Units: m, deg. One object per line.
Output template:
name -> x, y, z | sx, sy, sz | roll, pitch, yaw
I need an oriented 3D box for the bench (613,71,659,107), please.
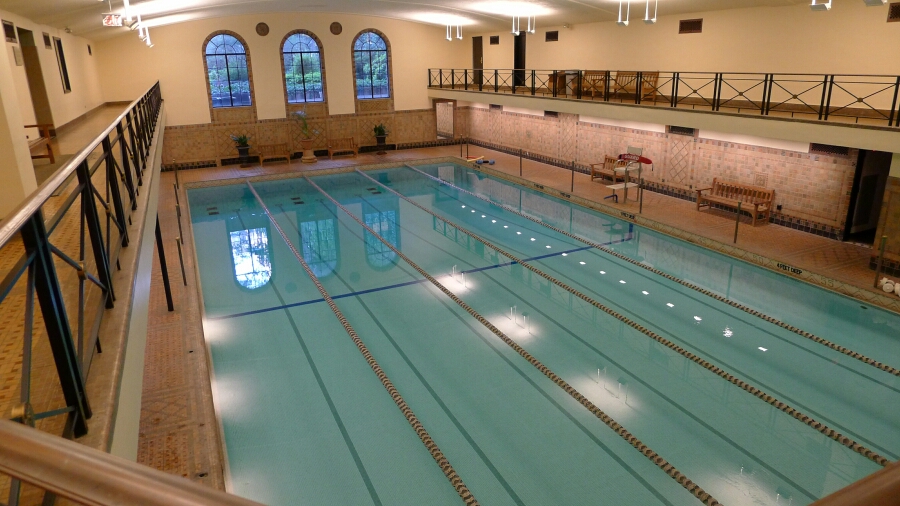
bench -> 5.136, -4.501, 14.108 | 0.550, 0.983, 1.488 | -11, 24, -20

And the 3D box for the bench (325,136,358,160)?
bench -> -4.455, -4.276, 20.895 | 1.160, 0.710, 0.464 | -8, 53, -14

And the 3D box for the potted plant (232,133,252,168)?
potted plant -> -7.956, -3.961, 19.808 | 0.539, 1.106, 0.863 | -11, 23, -19

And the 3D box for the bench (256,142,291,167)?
bench -> -6.903, -3.852, 19.989 | 1.197, 0.702, 0.472 | -9, 50, -17

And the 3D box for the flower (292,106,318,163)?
flower -> -5.780, -4.730, 20.451 | 0.629, 1.954, 0.800 | -9, 23, -14

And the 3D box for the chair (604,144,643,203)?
chair -> 5.001, -2.249, 14.855 | 0.880, 1.468, 0.772 | -4, 0, 35

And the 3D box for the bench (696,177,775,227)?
bench -> 7.032, -1.316, 12.849 | 0.643, 0.771, 1.655 | -15, 24, -24

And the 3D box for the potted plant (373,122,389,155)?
potted plant -> -2.899, -4.793, 21.482 | 0.540, 1.186, 0.716 | -6, 22, -6

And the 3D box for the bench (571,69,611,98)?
bench -> 4.199, -5.026, 15.307 | 1.115, 0.651, 1.107 | 14, 32, 29
